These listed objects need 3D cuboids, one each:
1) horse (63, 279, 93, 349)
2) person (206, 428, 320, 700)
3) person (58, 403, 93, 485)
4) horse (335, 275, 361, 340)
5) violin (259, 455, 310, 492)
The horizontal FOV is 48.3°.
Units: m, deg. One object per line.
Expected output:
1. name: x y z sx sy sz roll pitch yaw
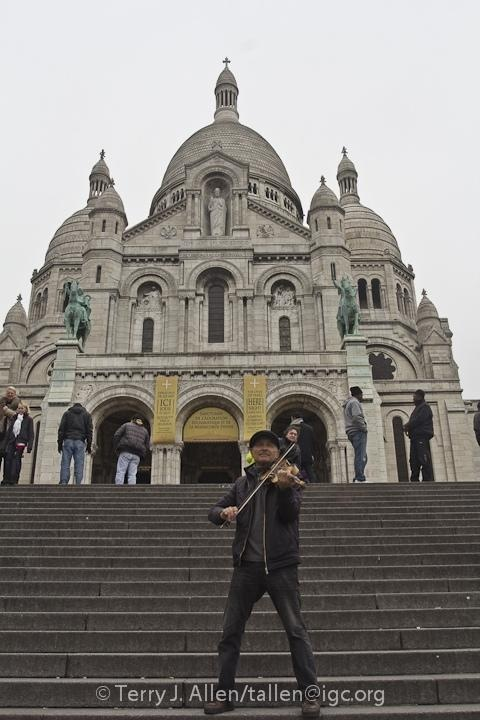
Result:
1. horse: -7.107 -2.055 23.326 0.691 3.047 1.707 -7 -28 14
2. person: 0.116 1.248 3.354 0.663 1.669 0.721 -6 -27 12
3. person: -4.001 2.016 12.959 0.816 2.205 1.205 9 -29 -18
4. horse: 4.820 -2.399 24.271 0.867 4.399 2.203 -4 -27 9
5. violin: 0.259 0.726 3.397 0.253 0.262 0.479 -1 -30 2
